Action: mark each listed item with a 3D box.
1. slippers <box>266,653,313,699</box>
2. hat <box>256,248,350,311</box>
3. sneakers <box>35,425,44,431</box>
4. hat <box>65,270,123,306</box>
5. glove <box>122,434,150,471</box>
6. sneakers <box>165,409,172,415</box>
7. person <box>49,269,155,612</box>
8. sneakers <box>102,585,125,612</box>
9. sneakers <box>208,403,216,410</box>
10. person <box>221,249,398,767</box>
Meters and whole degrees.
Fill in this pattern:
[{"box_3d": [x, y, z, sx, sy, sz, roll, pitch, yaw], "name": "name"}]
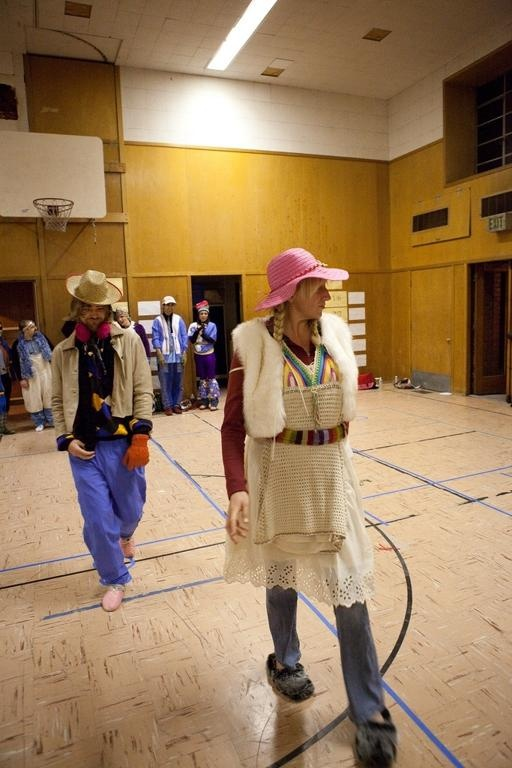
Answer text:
[{"box_3d": [0.119, 1.014, 1.861, 0.109, 0.066, 0.183, -6, 14, -24], "name": "slippers"}, {"box_3d": [0.112, -0.319, 1.591, 0.291, 0.146, 0.280, -18, 4, -8], "name": "hat"}, {"box_3d": [-2.918, 0.608, 7.225, 0.052, 0.063, 0.146, 1, -6, -10], "name": "sneakers"}, {"box_3d": [-0.729, -0.430, 2.407, 0.181, 0.155, 0.282, -4, 6, -4], "name": "hat"}, {"box_3d": [-0.549, 0.330, 2.462, 0.122, 0.162, 0.067, 10, 8, -27], "name": "glove"}, {"box_3d": [-1.304, 0.414, 8.001, 0.102, 0.094, 0.163, -4, 6, -12], "name": "sneakers"}, {"box_3d": [-0.682, 0.276, 2.468, 0.449, 1.558, 0.285, -5, 7, -21], "name": "person"}, {"box_3d": [-0.683, 1.017, 2.530, 0.049, 0.058, 0.141, 3, 10, -3], "name": "sneakers"}, {"box_3d": [-0.675, 0.352, 8.336, 0.087, 0.103, 0.241, -2, -4, -5], "name": "sneakers"}, {"box_3d": [0.133, 0.341, 1.509, 0.453, 1.450, 0.406, -4, 6, -5], "name": "person"}]
